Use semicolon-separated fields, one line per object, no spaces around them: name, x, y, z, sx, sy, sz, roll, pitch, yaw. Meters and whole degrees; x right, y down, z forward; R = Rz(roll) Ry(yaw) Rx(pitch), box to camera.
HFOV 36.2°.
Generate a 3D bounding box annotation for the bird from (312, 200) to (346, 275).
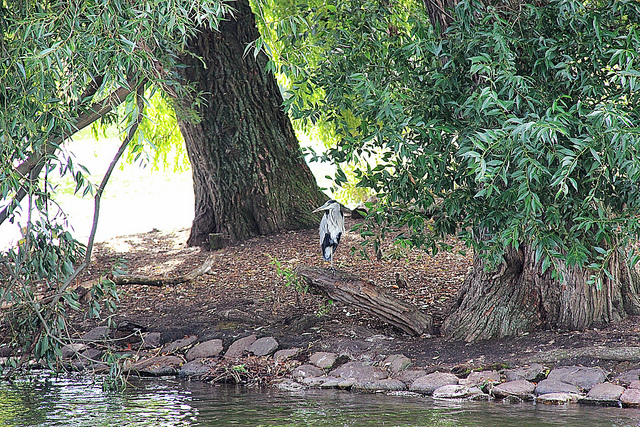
bird;0.086;0.393;16.143;0.385;1.184;0.656;2;4;40
